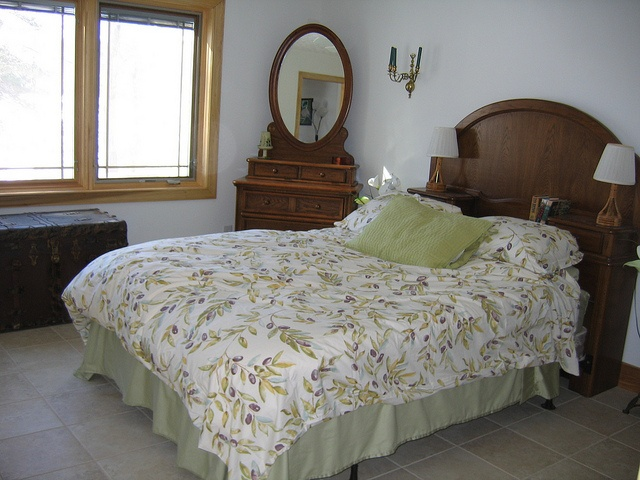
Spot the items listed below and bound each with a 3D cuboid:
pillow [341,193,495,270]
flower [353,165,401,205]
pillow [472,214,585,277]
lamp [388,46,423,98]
[{"bbox_3d":[0.689,-0.051,3.166,0.542,0.147,0.545,18,41,36],"label":"pillow"},{"bbox_3d":[0.480,-0.465,4.205,0.251,0.119,0.254,30,22,25],"label":"flower"},{"bbox_3d":[1.311,0.031,3.063,0.483,0.146,0.371,14,36,30],"label":"pillow"},{"bbox_3d":[0.768,-1.505,4.434,0.283,0.425,0.251,4,15,8],"label":"lamp"}]
